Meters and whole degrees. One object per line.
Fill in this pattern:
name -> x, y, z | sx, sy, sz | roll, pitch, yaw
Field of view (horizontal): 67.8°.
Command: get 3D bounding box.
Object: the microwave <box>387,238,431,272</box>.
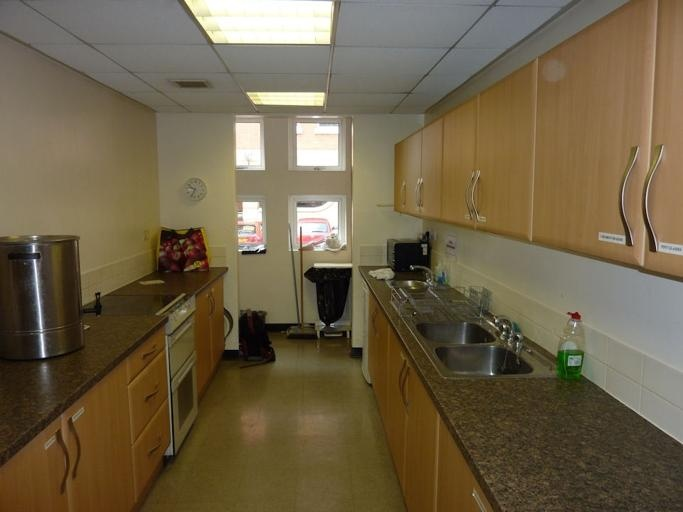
microwave -> 0.618, -0.015, 4.719 | 0.253, 0.214, 0.387 | 0, 4, -3

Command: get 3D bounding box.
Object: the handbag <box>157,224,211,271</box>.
handbag -> -1.470, -0.068, 4.744 | 0.397, 0.395, 0.157 | 0, -1, -20

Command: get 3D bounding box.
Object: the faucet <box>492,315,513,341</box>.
faucet -> 0.912, 0.405, 2.853 | 0.085, 0.113, 0.269 | 3, 13, 10

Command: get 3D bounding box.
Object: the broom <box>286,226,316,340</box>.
broom -> -0.439, 0.286, 5.793 | 0.313, 1.224, 0.429 | 0, 12, -5

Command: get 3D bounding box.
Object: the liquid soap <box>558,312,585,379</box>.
liquid soap -> 1.089, 0.408, 2.402 | 0.112, 0.303, 0.235 | 7, 13, 27

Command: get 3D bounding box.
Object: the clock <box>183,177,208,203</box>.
clock -> -1.388, -0.651, 4.866 | 0.209, 0.252, 0.033 | 2, 2, -3

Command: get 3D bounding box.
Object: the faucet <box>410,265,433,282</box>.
faucet -> 0.714, 0.142, 4.260 | 0.096, 0.131, 0.329 | 1, -2, 40

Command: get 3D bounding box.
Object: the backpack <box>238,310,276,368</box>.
backpack -> -0.868, 0.857, 5.222 | 0.351, 0.534, 0.150 | -3, -11, -5
